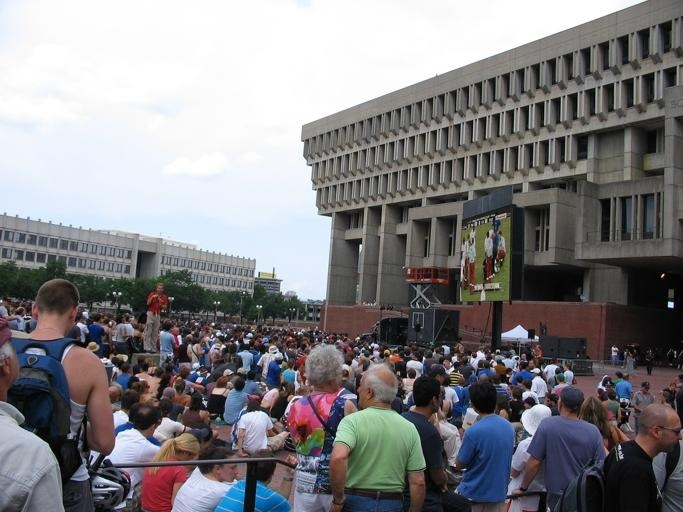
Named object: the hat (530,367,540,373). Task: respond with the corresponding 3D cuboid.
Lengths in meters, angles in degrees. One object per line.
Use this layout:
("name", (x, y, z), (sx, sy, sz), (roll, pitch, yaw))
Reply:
("hat", (4.867, 2.876, 15.195), (0.177, 0.124, 0.278), (2, -11, -1))

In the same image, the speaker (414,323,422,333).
("speaker", (4.611, 4.286, 36.544), (0.424, 0.507, 0.367), (-7, 11, -43))

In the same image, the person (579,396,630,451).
("person", (3.274, 2.081, 7.528), (0.285, 0.861, 0.251), (-12, 21, -4))

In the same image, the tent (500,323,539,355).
("tent", (11.242, 5.213, 38.219), (2.388, 1.585, 2.468), (6, -14, -20))
